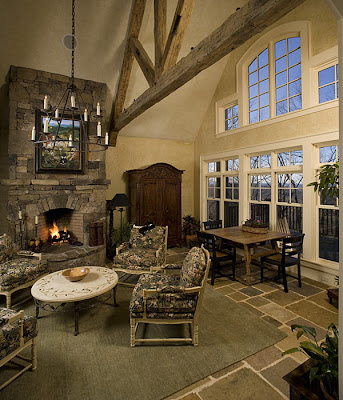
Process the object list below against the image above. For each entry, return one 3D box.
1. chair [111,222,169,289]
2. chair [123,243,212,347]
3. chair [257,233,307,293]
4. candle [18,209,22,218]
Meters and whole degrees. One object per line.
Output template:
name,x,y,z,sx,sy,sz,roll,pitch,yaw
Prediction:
chair,-0.477,0.871,4.702,0.650,0.844,0.804,3,3,12
chair,-0.050,1.046,3.641,0.885,0.799,1.374,0,-1,3
chair,1.700,0.887,4.712,0.614,0.904,1.155,3,9,22
candle,-2.440,0.237,4.889,0.065,0.151,0.129,-4,9,-24
